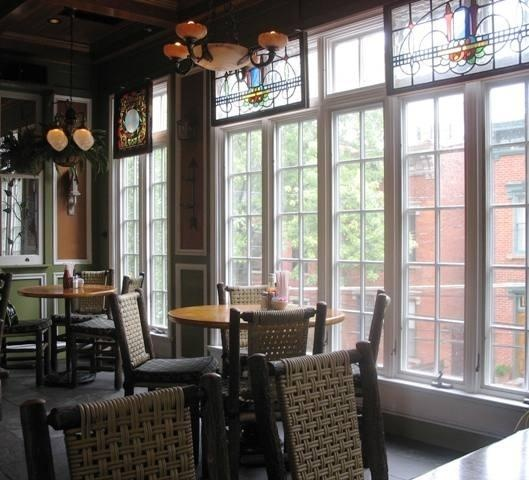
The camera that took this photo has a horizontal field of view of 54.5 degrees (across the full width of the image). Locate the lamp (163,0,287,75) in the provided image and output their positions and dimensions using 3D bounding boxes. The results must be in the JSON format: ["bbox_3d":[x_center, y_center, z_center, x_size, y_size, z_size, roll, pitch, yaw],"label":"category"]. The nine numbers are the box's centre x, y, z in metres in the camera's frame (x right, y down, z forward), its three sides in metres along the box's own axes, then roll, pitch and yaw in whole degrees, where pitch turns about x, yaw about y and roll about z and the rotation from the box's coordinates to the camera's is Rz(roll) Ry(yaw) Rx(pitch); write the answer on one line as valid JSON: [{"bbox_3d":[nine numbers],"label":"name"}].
[{"bbox_3d":[-0.237,-1.130,3.029,0.686,0.276,0.403,-1,2,-13],"label":"lamp"}]

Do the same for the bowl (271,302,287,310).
[{"bbox_3d":[0.088,0.407,3.148,0.055,0.047,0.054,-1,-2,0],"label":"bowl"}]

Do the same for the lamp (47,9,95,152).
[{"bbox_3d":[-2.174,-1.674,5.730,0.495,1.490,1.386,-2,2,-22],"label":"lamp"}]
